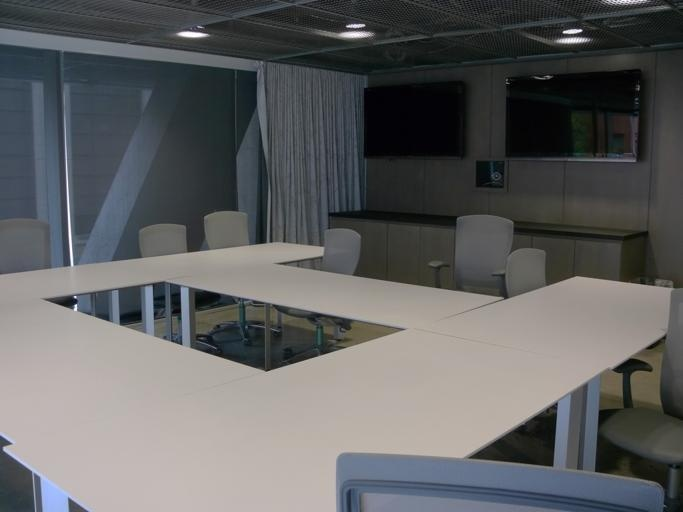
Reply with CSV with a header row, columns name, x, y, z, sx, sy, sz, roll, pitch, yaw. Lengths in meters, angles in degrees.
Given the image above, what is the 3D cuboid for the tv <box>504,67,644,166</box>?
name,x,y,z,sx,sy,sz,roll,pitch,yaw
tv,2.480,-1.520,5.997,1.400,0.909,0.089,9,14,38

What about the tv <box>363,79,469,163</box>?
name,x,y,z,sx,sy,sz,roll,pitch,yaw
tv,1.012,-1.753,7.085,1.056,0.742,0.139,7,13,37
